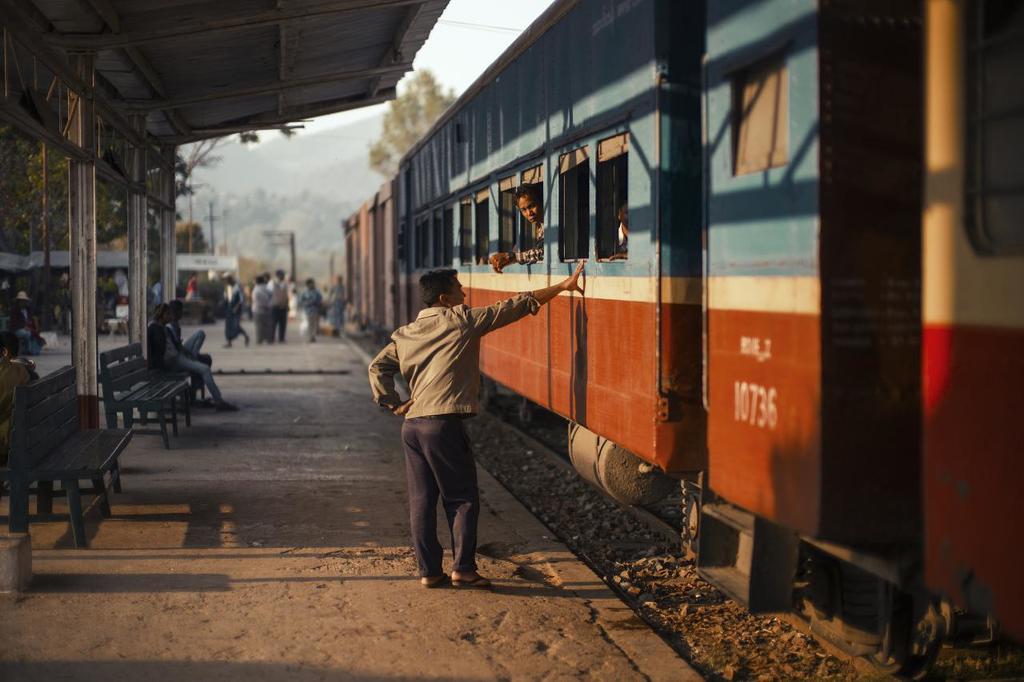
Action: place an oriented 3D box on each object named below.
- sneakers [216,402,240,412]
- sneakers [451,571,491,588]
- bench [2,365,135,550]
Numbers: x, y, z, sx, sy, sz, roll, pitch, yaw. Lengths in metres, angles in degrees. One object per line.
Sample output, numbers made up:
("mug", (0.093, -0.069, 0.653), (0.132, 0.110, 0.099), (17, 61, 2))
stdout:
("sneakers", (-4.512, 1.026, 14.319), (0.337, 0.180, 0.126), (-2, 3, -17))
("sneakers", (-0.307, 1.807, 6.893), (0.297, 0.167, 0.122), (-2, 7, -11))
("bench", (-3.938, 1.054, 7.942), (0.413, 0.784, 1.279), (-1, 7, -8))
